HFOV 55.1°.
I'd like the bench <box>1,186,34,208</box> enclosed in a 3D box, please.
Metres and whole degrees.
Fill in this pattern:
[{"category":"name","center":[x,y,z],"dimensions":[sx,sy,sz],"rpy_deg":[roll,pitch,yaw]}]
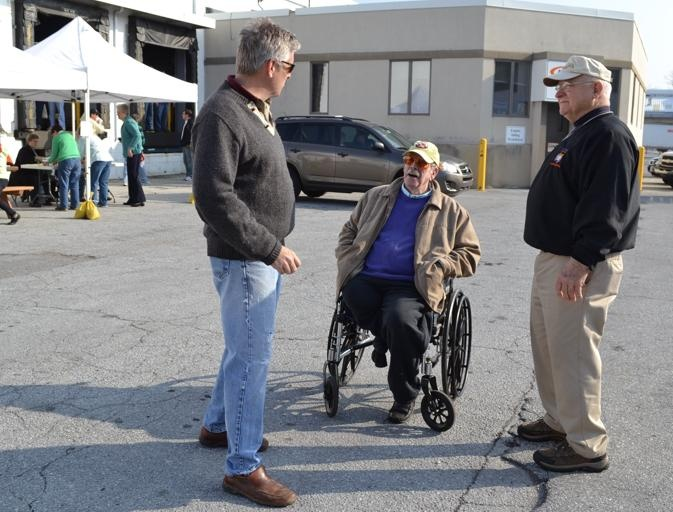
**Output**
[{"category":"bench","center":[-6.748,-1.201,13.872],"dimensions":[0.692,0.269,0.511],"rpy_deg":[3,23,2]}]

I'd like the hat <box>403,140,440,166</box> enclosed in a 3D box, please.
[{"category":"hat","center":[0.675,-0.747,4.922],"dimensions":[0.189,0.145,0.268],"rpy_deg":[20,1,24]}]

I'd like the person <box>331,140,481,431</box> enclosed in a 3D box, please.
[{"category":"person","center":[0.583,0.146,4.853],"dimensions":[0.993,2.053,1.330],"rpy_deg":[-3,10,-38]}]

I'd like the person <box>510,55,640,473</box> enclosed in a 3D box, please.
[{"category":"person","center":[1.475,0.032,4.032],"dimensions":[0.595,2.474,0.689],"rpy_deg":[-3,11,-17]}]

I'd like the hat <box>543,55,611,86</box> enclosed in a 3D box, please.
[{"category":"hat","center":[1.497,-1.144,4.039],"dimensions":[0.329,0.160,0.245],"rpy_deg":[1,9,1]}]

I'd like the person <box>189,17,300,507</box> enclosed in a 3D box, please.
[{"category":"person","center":[-0.490,0.015,3.671],"dimensions":[0.591,2.646,0.602],"rpy_deg":[3,11,11]}]

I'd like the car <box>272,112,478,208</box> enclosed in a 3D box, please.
[{"category":"car","center":[0.926,-2.520,15.946],"dimensions":[4.546,2.043,2.222],"rpy_deg":[3,10,19]}]

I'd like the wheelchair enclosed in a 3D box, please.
[{"category":"wheelchair","center":[0.461,0.376,4.811],"dimensions":[0.974,1.734,1.191],"rpy_deg":[4,8,17]}]

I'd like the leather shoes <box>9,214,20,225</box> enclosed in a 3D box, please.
[{"category":"leather shoes","center":[-5.808,-0.670,11.776],"dimensions":[0.112,0.151,0.324],"rpy_deg":[-3,6,-17]}]
